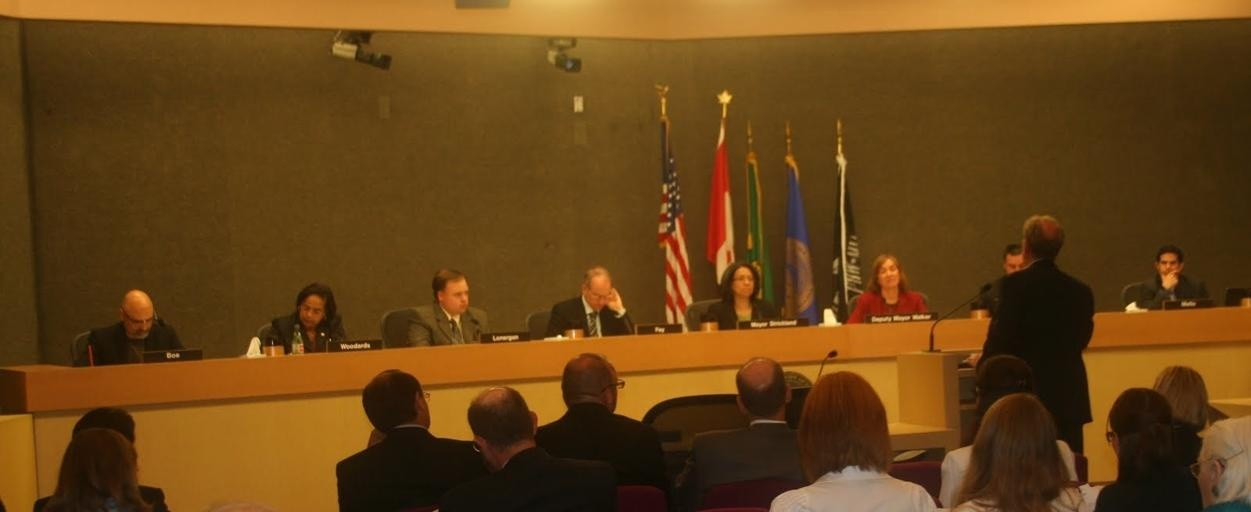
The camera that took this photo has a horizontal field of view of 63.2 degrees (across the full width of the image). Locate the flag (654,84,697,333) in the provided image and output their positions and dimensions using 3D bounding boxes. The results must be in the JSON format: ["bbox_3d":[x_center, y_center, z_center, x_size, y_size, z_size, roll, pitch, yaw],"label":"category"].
[{"bbox_3d":[0.678,-0.828,15.483,0.452,3.746,0.981,-4,-4,2],"label":"flag"}]

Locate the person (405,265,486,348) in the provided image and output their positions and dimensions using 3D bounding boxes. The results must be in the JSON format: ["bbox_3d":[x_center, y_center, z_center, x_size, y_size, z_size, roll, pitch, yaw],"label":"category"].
[{"bbox_3d":[-2.616,0.728,14.306,1.329,0.889,0.703,1,-6,-42],"label":"person"}]

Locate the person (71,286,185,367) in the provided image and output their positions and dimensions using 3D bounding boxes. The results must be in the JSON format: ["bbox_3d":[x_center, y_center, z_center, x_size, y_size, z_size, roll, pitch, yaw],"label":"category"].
[{"bbox_3d":[-6.946,0.981,13.948,1.039,1.445,0.533,-11,-1,-33],"label":"person"}]

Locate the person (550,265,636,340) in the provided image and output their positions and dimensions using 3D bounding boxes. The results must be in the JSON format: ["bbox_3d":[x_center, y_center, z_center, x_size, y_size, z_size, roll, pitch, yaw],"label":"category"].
[{"bbox_3d":[-0.545,0.679,14.681,1.180,1.643,0.603,-2,-6,-22],"label":"person"}]

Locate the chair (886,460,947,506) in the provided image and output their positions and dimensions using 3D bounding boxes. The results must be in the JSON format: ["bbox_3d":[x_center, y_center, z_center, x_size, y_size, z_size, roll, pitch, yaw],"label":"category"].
[{"bbox_3d":[3.245,2.554,11.460,0.572,0.587,0.541,1,-2,-6],"label":"chair"}]

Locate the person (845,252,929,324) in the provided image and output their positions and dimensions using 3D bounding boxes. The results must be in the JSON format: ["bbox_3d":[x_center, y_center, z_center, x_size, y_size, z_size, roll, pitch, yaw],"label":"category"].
[{"bbox_3d":[3.806,0.497,14.783,1.201,0.888,0.581,0,-15,3],"label":"person"}]

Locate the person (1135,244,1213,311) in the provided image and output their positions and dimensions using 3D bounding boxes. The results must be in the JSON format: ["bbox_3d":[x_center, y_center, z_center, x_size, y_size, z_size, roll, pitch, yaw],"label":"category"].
[{"bbox_3d":[8.164,0.449,15.179,1.345,0.997,0.619,3,-14,-5],"label":"person"}]

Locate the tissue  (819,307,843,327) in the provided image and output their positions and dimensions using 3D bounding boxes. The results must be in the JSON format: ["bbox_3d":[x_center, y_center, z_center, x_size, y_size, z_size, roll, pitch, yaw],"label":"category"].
[{"bbox_3d":[2.891,0.838,14.019,0.357,0.282,0.316,0,-11,-3],"label":"tissue "}]

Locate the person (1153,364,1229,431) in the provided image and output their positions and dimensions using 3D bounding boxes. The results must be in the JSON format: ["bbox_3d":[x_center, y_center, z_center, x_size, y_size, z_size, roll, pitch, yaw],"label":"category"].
[{"bbox_3d":[6.597,1.686,12.210,0.767,0.645,0.807,4,-8,0],"label":"person"}]

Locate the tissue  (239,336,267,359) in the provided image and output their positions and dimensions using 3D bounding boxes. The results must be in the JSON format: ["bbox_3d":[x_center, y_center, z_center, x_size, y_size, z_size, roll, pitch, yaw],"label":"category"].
[{"bbox_3d":[-5.100,1.239,13.818,0.324,0.291,0.358,3,0,39],"label":"tissue "}]

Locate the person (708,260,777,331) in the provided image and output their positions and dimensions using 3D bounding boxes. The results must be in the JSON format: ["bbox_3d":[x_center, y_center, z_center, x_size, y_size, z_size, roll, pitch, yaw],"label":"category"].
[{"bbox_3d":[1.584,0.572,14.641,1.286,0.924,0.712,-3,-1,-24],"label":"person"}]

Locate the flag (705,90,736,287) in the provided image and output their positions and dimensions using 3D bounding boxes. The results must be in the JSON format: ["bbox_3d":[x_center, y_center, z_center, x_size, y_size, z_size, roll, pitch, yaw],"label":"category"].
[{"bbox_3d":[1.458,-1.110,15.790,0.593,2.956,0.498,-4,-4,7],"label":"flag"}]

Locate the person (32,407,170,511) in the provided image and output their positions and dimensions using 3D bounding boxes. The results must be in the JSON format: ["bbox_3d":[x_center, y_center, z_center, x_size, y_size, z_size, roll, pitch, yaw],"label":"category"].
[{"bbox_3d":[-6.070,2.298,11.537,1.603,1.179,0.743,-1,2,-16],"label":"person"}]

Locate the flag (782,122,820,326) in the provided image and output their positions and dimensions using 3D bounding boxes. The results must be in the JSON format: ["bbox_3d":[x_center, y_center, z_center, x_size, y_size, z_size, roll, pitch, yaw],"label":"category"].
[{"bbox_3d":[2.585,-0.523,15.519,0.531,3.123,0.729,-5,-4,9],"label":"flag"}]
